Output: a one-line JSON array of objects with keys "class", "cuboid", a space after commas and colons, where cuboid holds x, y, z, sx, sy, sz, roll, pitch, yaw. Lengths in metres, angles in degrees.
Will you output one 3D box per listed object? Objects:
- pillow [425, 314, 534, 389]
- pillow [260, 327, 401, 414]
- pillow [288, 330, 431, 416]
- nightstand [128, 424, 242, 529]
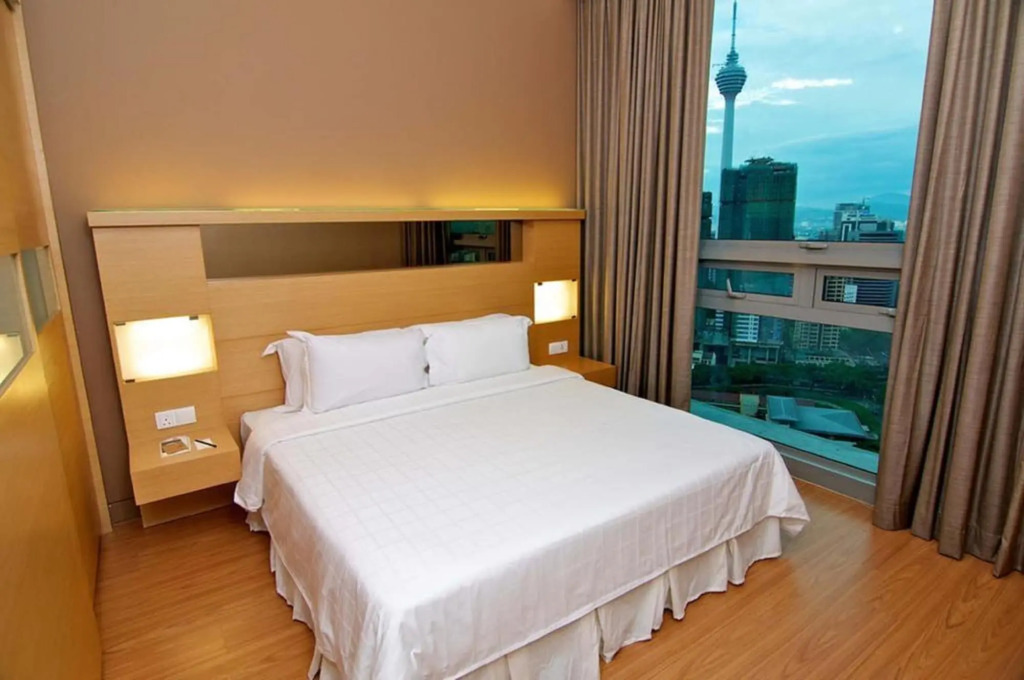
[{"class": "pillow", "cuboid": [-0.232, 0.066, 4.924, 1.005, 0.471, 0.300, -10, -3, -37]}, {"class": "pillow", "cuboid": [-1.220, 0.223, 4.369, 0.588, 0.550, 0.172, 0, 5, -34]}, {"class": "pillow", "cuboid": [-1.050, 0.238, 4.369, 0.598, 0.320, 0.172, -6, -7, -24]}, {"class": "nightstand", "cuboid": [-2.122, 0.862, 4.198, 0.637, 0.556, 0.412, -10, 18, -41]}]
